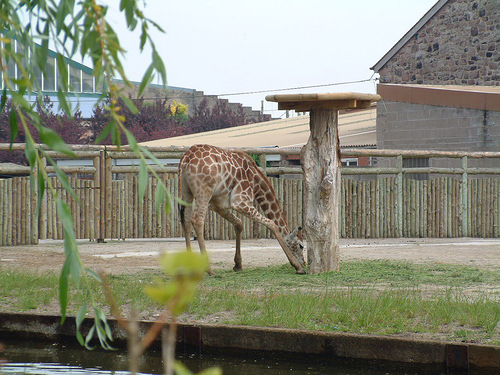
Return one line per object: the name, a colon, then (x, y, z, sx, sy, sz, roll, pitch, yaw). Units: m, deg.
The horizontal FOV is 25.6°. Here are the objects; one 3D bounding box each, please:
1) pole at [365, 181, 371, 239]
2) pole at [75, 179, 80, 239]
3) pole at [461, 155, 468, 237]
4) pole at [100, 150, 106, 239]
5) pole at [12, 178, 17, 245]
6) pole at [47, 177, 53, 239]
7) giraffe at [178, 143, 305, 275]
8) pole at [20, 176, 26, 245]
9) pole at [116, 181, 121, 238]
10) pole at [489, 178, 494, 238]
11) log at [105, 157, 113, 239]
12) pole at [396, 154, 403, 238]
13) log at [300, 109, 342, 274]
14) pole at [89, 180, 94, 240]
pole: (2.636, 0.507, 24.638, 0.128, 0.880, 0.107, -1, 1, 5)
pole: (-3.586, 0.461, 23.038, 0.097, 1.044, 0.402, -2, 1, -10)
pole: (4.851, 0.221, 24.868, 0.132, 1.813, 0.200, -1, 1, 9)
pole: (-3.083, 0.148, 23.110, 0.149, 1.522, 0.138, -2, 1, -8)
pole: (-4.842, 0.514, 22.692, 0.124, 1.182, 0.079, -2, 1, -13)
pole: (-4.158, 0.438, 22.882, 0.114, 1.088, 0.509, -2, 1, -10)
giraffe: (-0.053, 0.436, 19.447, 2.764, 2.090, 0.786, 7, -10, -32)
pole: (-4.667, 0.500, 22.697, 0.154, 1.203, 0.071, -2, 1, -16)
pole: (-2.768, 0.481, 23.258, 0.122, 0.968, 0.056, -2, 1, -8)
pole: (5.457, 0.477, 24.860, 0.124, 1.296, 0.077, -1, 1, 12)
log: (-2.963, 0.227, 23.166, 0.187, 1.404, 0.139, -2, 1, -25)
pole: (3.384, 0.204, 24.758, 0.131, 1.264, 0.449, -1, 1, 8)
log: (1.226, 0.081, 18.760, 0.668, 1.998, 0.414, -1, 1, 3)
pole: (-3.302, 0.554, 23.084, 0.107, 0.964, 0.036, -2, 1, -16)
